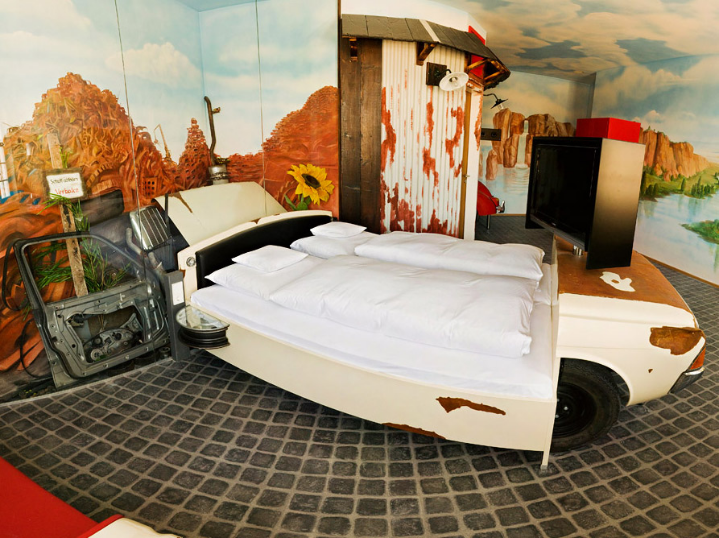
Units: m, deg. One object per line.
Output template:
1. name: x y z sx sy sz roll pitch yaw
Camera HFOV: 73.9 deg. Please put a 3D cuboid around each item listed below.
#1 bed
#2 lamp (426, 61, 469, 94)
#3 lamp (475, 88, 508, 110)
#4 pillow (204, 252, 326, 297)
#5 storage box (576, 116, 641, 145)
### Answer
1. bed: 0.133 0.388 3.737 2.575 0.926 1.847 12 37 22
2. lamp: 0.997 -2.139 5.558 0.367 0.279 0.489 -35 52 -28
3. lamp: 2.736 -3.373 9.592 0.479 0.336 0.257 6 21 16
4. pillow: -0.929 0.090 4.201 0.536 0.121 0.562 8 18 42
5. storage box: 2.115 -1.170 4.025 0.501 0.173 0.509 -8 14 -29
